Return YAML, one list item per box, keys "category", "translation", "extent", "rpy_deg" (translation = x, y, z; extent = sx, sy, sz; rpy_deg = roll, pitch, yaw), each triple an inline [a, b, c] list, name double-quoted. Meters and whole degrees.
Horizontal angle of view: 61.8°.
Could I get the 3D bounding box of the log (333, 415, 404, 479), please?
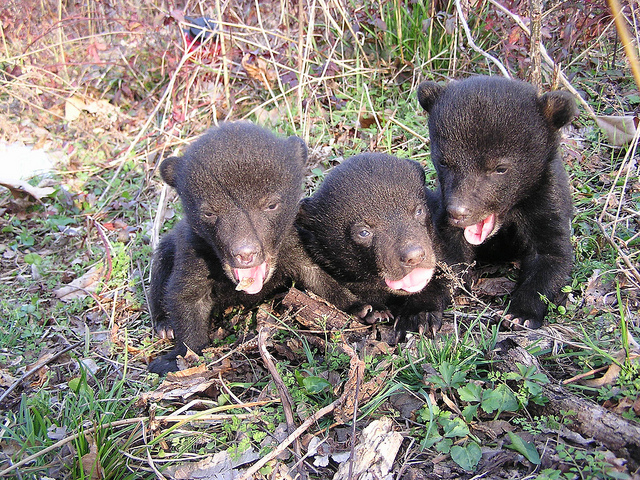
- category: "log"
  translation: [0.404, 1.526, 3.819]
  extent: [0.295, 0.110, 0.461]
  rpy_deg: [20, 48, 30]
